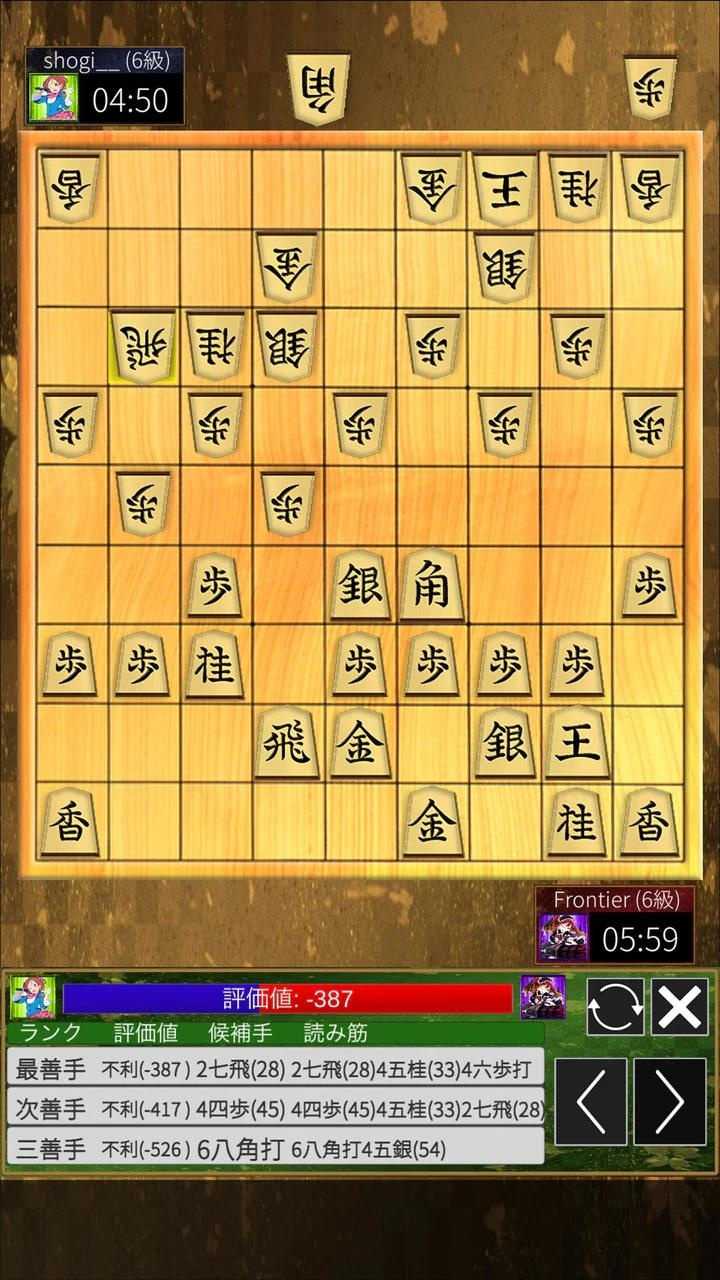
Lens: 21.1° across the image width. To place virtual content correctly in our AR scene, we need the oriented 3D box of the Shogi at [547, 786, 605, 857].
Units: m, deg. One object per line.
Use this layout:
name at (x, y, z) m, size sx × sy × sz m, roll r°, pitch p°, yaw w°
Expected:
Shogi at (0.514, 0.442, 4.597) m, size 0.118 × 0.016 × 0.184 m, roll 1°, pitch 75°, yaw 0°

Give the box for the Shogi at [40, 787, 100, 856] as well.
Shogi at (-0.685, 0.443, 4.600) m, size 0.115 × 0.018 × 0.199 m, roll 0°, pitch 82°, yaw -2°

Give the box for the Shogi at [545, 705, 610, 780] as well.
Shogi at (0.523, 0.251, 4.604) m, size 0.126 × 0.017 × 0.198 m, roll 0°, pitch 82°, yaw -2°

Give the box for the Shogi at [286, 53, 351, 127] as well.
Shogi at (-0.094, -1.298, 4.571) m, size 0.124 × 0.178 × 0.021 m, roll 0°, pitch 2°, yaw 8°

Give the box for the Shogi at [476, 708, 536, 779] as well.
Shogi at (0.343, 0.255, 4.604) m, size 0.119 × 0.015 × 0.184 m, roll 0°, pitch 81°, yaw -1°

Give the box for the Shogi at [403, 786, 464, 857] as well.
Shogi at (0.170, 0.441, 4.588) m, size 0.114 × 0.015 × 0.173 m, roll 0°, pitch 81°, yaw -2°

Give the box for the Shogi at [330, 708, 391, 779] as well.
Shogi at (0.006, 0.257, 4.597) m, size 0.119 × 0.016 × 0.184 m, roll 0°, pitch 78°, yaw -1°

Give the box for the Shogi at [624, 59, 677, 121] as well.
Shogi at (0.686, -1.304, 4.579) m, size 0.104 × 0.174 × 0.020 m, roll 0°, pitch -1°, yaw 0°

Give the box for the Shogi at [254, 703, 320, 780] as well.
Shogi at (-0.167, 0.252, 4.600) m, size 0.127 × 0.017 × 0.190 m, roll -1°, pitch 80°, yaw 0°
